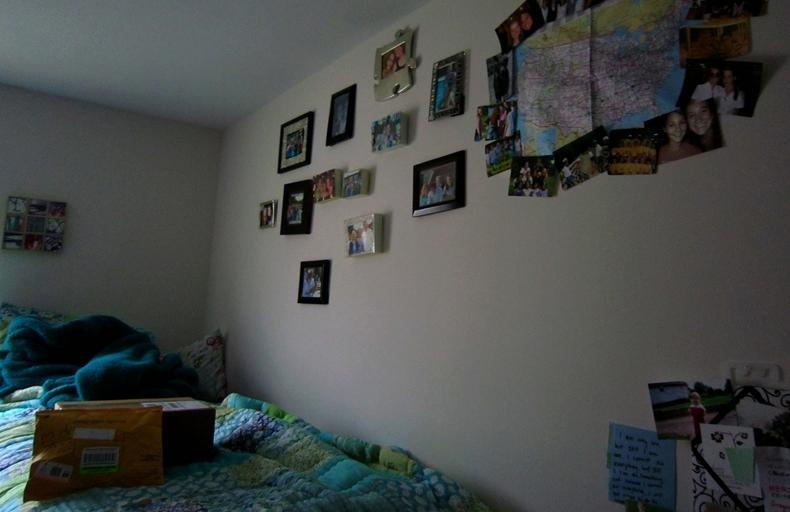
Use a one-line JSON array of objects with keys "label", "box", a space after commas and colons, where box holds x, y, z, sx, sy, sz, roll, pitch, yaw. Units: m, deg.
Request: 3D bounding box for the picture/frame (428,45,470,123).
[{"label": "picture/frame", "box": [0.273, -0.850, 2.575, 0.228, 0.349, 0.060, 16, 10, 42]}]

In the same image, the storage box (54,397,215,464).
[{"label": "storage box", "box": [-1.050, 0.716, 2.218, 0.546, 0.266, 0.317, 8, 8, -7]}]

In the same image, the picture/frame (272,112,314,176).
[{"label": "picture/frame", "box": [-0.666, -0.735, 3.420, 0.046, 0.442, 0.443, 12, -13, -41]}]

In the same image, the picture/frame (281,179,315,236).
[{"label": "picture/frame", "box": [-0.614, -0.303, 3.305, 0.035, 0.359, 0.330, 14, -16, -42]}]

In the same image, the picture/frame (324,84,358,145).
[{"label": "picture/frame", "box": [-0.315, -0.845, 3.097, 0.030, 0.452, 0.355, 18, -20, -39]}]

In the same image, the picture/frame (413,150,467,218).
[{"label": "picture/frame", "box": [0.237, -0.350, 2.552, 0.322, 0.317, 0.027, -6, -11, 44]}]

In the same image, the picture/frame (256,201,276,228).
[{"label": "picture/frame", "box": [-0.894, -0.286, 3.582, 0.029, 0.159, 0.177, 8, -11, -42]}]
